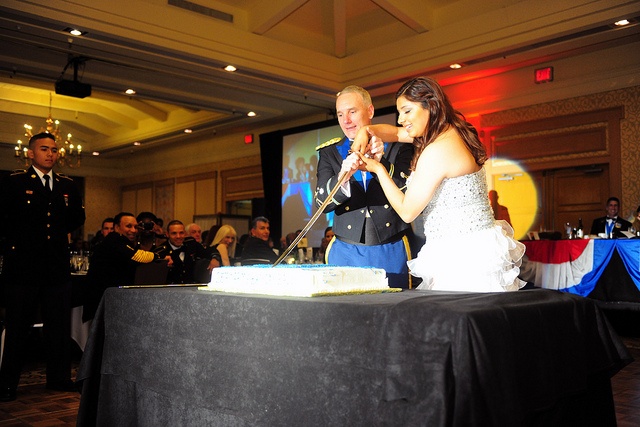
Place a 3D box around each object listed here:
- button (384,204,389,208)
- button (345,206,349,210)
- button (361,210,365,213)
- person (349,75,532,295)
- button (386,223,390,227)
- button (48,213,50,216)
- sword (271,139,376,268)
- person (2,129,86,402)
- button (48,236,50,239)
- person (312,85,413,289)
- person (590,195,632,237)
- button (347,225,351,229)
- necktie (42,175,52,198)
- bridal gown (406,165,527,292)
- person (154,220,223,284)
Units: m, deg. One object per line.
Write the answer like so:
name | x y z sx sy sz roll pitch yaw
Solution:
button | 0.373 -0.038 2.842 0.019 0.019 0.007 -6 2 10
button | 0.156 -0.028 2.889 0.020 0.021 0.007 7 0 2
button | 0.242 -0.011 2.855 0.017 0.017 0.003 -6 -2 -4
person | 0.557 -0.116 2.668 0.816 1.173 0.798 2 9 42
button | 0.379 0.065 2.837 0.017 0.018 0.004 1 -2 -2
button | -2.312 0.008 4.315 0.021 0.016 0.022 -5 -8 22
sword | -0.052 0.030 2.682 0.455 0.467 0.268 -6 7 -10
person | -2.400 0.457 4.341 0.790 2.254 0.425 -8 8 -26
button | -2.300 0.203 4.303 0.012 0.022 0.012 -1 -9 22
person | 0.302 0.026 2.984 0.562 1.471 0.567 -3 24 6
person | 4.138 0.056 7.193 0.513 0.529 0.892 0 8 31
button | 0.167 0.079 2.874 0.019 0.020 0.005 -3 -5 28
necktie | -2.342 -0.234 4.338 0.046 0.176 0.046 -2 -2 -13
bridal gown | 0.764 0.145 2.804 0.621 0.803 0.746 -7 -2 11
person | -1.613 0.473 6.150 0.587 0.297 0.797 -12 49 -39
